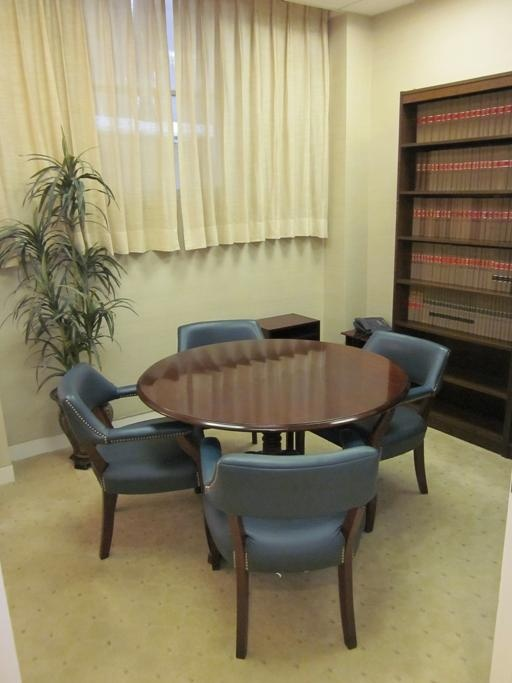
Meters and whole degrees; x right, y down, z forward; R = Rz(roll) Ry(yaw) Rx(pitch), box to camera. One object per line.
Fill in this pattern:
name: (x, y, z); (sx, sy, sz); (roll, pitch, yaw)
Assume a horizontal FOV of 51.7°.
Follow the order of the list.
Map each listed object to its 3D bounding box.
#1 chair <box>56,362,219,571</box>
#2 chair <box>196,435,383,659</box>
chair: (-0.507, 0.410, 2.492); (0.765, 0.928, 0.723); (-2, 25, -8)
chair: (0.087, 0.503, 1.760); (0.580, 0.793, 0.686); (-1, 23, -4)
